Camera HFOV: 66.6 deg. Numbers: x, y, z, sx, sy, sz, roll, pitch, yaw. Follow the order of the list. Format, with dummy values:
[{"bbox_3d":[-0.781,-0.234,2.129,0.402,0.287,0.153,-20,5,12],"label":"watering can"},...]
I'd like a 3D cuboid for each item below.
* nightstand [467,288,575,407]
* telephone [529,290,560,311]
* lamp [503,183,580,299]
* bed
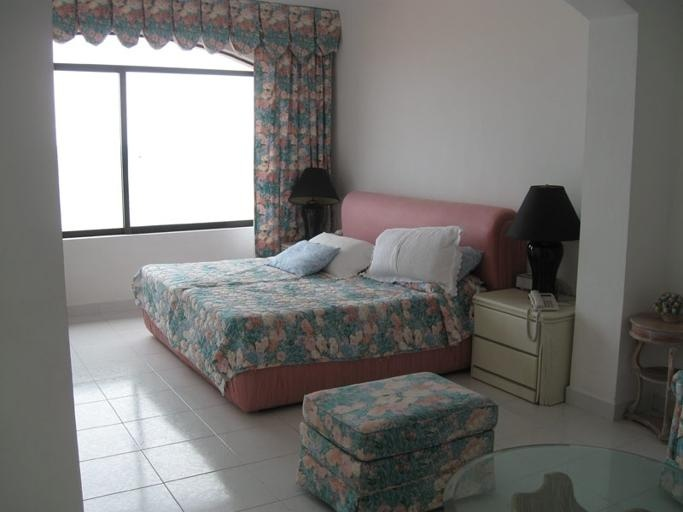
[{"bbox_3d":[1.347,0.639,3.871,0.475,0.637,0.640,-8,14,-40],"label":"nightstand"},{"bbox_3d":[1.387,0.307,3.623,0.206,0.102,0.262,-2,11,-10],"label":"telephone"},{"bbox_3d":[1.449,-0.108,3.697,0.437,0.773,0.277,-2,11,-9],"label":"lamp"},{"bbox_3d":[0.123,0.392,4.109,2.114,1.055,2.199,-5,16,-28],"label":"bed"}]
